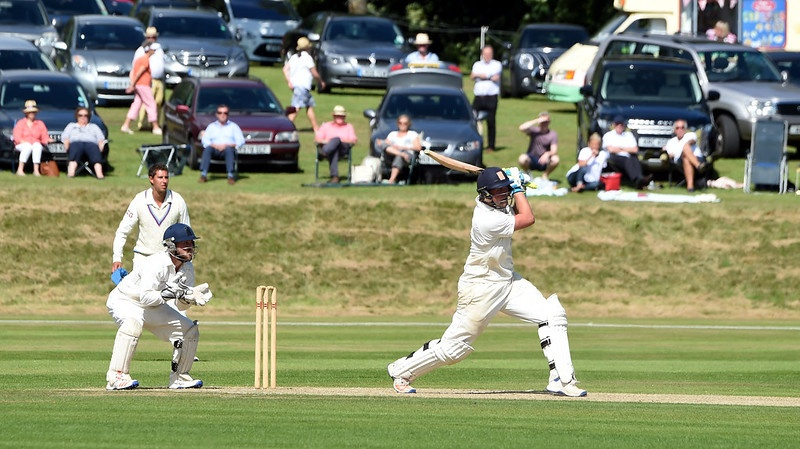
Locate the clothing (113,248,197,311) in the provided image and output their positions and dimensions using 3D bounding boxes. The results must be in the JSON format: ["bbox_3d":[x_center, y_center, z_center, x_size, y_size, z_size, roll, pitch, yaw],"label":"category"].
[{"bbox_3d":[-5.635,0.950,43.626,1.621,1.555,0.645,20,-41,-27],"label":"clothing"}]

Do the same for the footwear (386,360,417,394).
[{"bbox_3d":[0.085,3.587,43.193,0.762,0.508,0.276,48,31,15],"label":"footwear"}]

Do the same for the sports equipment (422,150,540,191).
[{"bbox_3d":[2.090,-1.426,49.499,2.937,0.419,0.524,15,10,0],"label":"sports equipment"}]

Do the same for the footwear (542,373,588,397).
[{"bbox_3d":[3.889,3.768,43.085,1.049,0.504,0.385,2,4,13],"label":"footwear"}]

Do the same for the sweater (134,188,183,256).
[{"bbox_3d":[-5.590,-0.028,43.681,1.533,1.636,0.902,2,-1,-5],"label":"sweater"}]

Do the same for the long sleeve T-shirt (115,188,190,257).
[{"bbox_3d":[-5.886,0.012,44.867,1.892,1.707,0.756,1,2,-11],"label":"long sleeve T-shirt"}]
